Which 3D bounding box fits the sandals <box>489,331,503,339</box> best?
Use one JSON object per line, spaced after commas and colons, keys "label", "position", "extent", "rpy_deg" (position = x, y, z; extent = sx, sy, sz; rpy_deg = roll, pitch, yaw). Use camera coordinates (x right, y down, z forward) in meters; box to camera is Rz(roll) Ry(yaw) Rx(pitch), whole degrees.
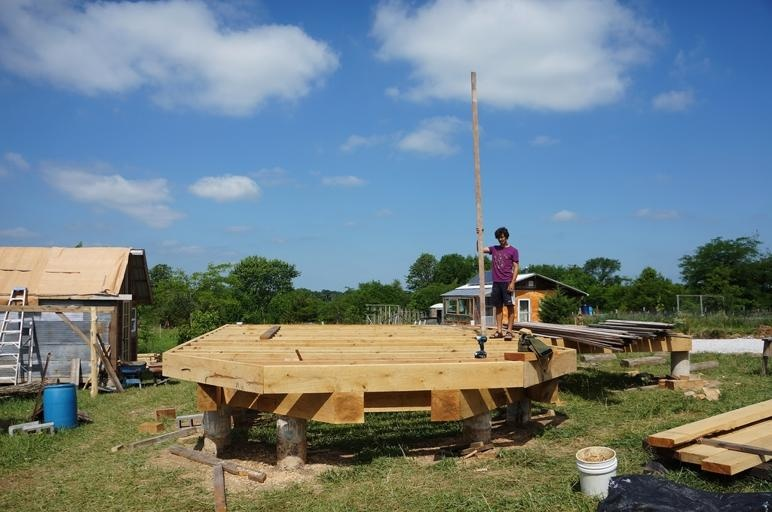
{"label": "sandals", "position": [2.122, 1.530, 10.029], "extent": [0.173, 0.089, 0.254], "rpy_deg": [2, -6, 5]}

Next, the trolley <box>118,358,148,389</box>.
{"label": "trolley", "position": [-7.523, 3.488, 15.490], "extent": [0.797, 0.648, 0.912], "rpy_deg": [-1, 0, -15]}

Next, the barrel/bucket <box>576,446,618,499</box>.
{"label": "barrel/bucket", "position": [2.765, 2.869, 6.987], "extent": [0.588, 0.514, 0.564], "rpy_deg": [-1, -8, 0]}

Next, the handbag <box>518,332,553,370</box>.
{"label": "handbag", "position": [2.317, 1.484, 8.105], "extent": [0.579, 0.548, 0.404], "rpy_deg": [-1, -6, -7]}

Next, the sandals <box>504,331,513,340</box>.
{"label": "sandals", "position": [2.326, 1.534, 9.914], "extent": [0.150, 0.147, 0.550], "rpy_deg": [-3, -7, 14]}

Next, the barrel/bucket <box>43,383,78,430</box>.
{"label": "barrel/bucket", "position": [-6.686, 3.153, 10.790], "extent": [0.648, 0.935, 0.622], "rpy_deg": [-5, -6, -1]}
